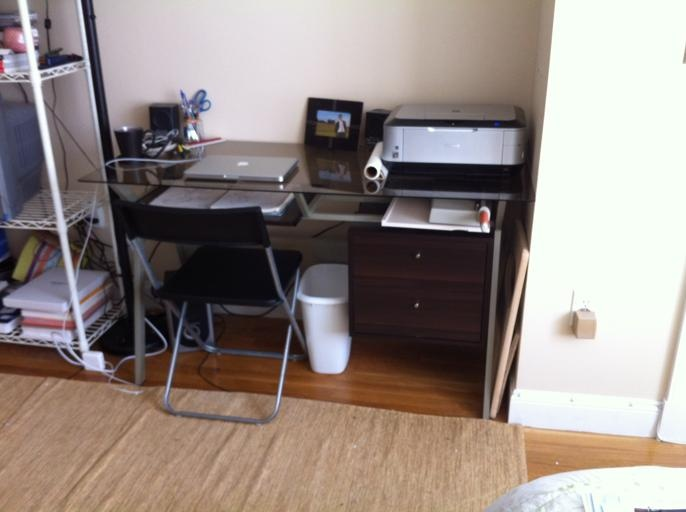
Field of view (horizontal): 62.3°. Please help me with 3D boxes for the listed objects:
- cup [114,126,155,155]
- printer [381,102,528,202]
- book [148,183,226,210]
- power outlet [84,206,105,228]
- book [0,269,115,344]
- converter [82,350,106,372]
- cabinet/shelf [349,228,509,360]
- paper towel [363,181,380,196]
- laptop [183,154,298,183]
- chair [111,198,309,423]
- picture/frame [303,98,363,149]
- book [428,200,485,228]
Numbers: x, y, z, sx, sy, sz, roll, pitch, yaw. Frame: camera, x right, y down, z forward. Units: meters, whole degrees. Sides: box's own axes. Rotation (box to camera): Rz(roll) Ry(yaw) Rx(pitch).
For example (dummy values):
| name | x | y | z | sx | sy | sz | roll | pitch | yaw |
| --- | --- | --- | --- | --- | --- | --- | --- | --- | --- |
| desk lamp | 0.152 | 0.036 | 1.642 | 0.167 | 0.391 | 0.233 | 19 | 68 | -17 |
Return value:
| name | x | y | z | sx | sy | sz | roll | pitch | yaw |
| --- | --- | --- | --- | --- | --- | --- | --- | --- | --- |
| cup | -0.914 | -0.512 | 2.488 | 0.130 | 0.137 | 0.127 | 6 | 30 | -3 |
| printer | 0.438 | -0.411 | 2.210 | 0.554 | 0.251 | 0.515 | 4 | 31 | 14 |
| book | -0.651 | -0.249 | 2.419 | 0.183 | 0.007 | 0.168 | 3 | 33 | 8 |
| power outlet | -1.226 | -0.196 | 2.851 | 0.139 | 0.135 | 0.033 | 11 | 17 | 35 |
| book | -1.324 | 0.230 | 2.666 | 0.309 | 0.207 | 0.427 | 6 | 21 | 13 |
| converter | -1.147 | 0.486 | 2.620 | 0.085 | 0.087 | 0.048 | 3 | 20 | 3 |
| cabinet/shelf | 0.353 | 0.143 | 2.438 | 0.715 | 0.609 | 0.421 | 4 | 27 | 11 |
| paper towel | 0.107 | -0.260 | 2.156 | 0.058 | 0.060 | 0.044 | 14 | -3 | 18 |
| laptop | -0.397 | -0.368 | 2.333 | 0.251 | 0.028 | 0.187 | 4 | 29 | 8 |
| chair | -0.467 | 0.169 | 2.422 | 0.627 | 0.952 | 0.744 | 7 | 21 | 20 |
| picture/frame | -0.046 | -0.622 | 2.590 | 0.263 | 0.286 | 0.061 | 1 | 53 | -1 |
| book | 0.426 | -0.172 | 2.164 | 0.183 | 0.047 | 0.174 | 4 | 31 | 13 |
